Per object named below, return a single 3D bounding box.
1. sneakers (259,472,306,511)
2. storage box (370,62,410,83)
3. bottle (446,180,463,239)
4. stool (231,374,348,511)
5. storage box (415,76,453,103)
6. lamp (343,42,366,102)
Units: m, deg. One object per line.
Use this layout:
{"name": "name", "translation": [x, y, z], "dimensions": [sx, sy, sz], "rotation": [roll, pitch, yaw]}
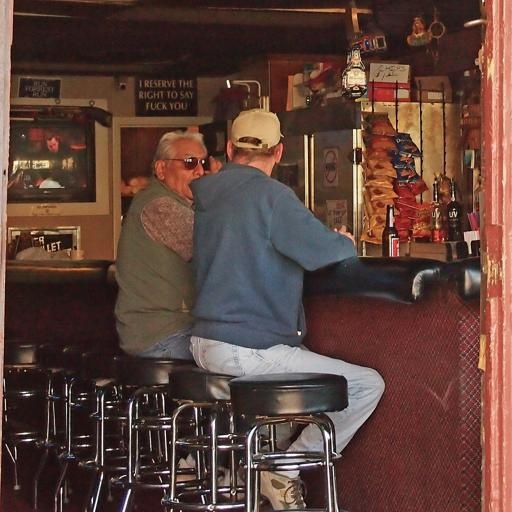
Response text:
{"name": "sneakers", "translation": [0.094, 0.823, 3.014], "dimensions": [0.165, 0.162, 0.122], "rotation": [-1, 1, 13]}
{"name": "storage box", "translation": [0.788, -1.083, 5.101], "dimensions": [0.232, 0.136, 0.192], "rotation": [-2, -1, 8]}
{"name": "bottle", "translation": [0.957, -0.216, 4.157], "dimensions": [0.067, 0.289, 0.203], "rotation": [-2, -1, 12]}
{"name": "stool", "translation": [0.067, 0.580, 2.733], "dimensions": [0.408, 0.466, 0.390], "rotation": [1, -10, -7]}
{"name": "storage box", "translation": [1.088, -0.981, 5.283], "dimensions": [0.235, 0.167, 0.167], "rotation": [1, 3, -1]}
{"name": "lamp", "translation": [0.514, -0.975, 4.529], "dimensions": [0.126, 0.275, 0.266], "rotation": [-2, -1, 6]}
